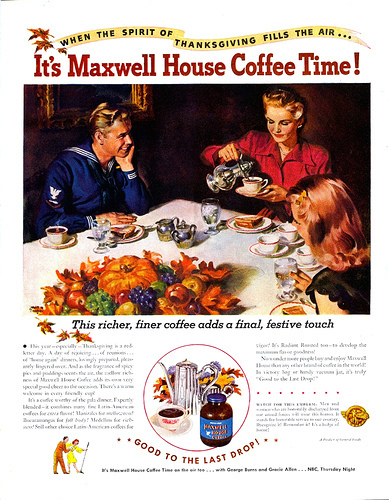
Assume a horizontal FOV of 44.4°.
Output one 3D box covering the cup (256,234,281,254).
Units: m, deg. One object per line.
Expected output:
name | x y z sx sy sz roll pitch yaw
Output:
cup | 0.354 -0.032 2.223 0.094 0.065 0.092 -1 8 0

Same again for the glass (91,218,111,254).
glass | -0.443 -0.066 2.274 0.092 0.166 0.063 -1 6 -9

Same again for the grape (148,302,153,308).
grape | -0.204 0.258 2.224 0.023 0.024 0.010 -1 6 -6

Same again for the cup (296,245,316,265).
cup | 0.529 0.023 2.277 0.084 0.070 0.088 -14 15 4

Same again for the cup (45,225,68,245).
cup | -0.652 -0.073 2.267 0.095 0.065 0.092 -1 11 0

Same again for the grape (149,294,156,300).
grape | -0.196 0.222 2.233 0.032 0.024 0.011 -1 6 -6

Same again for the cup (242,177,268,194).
cup | 0.292 -0.314 2.299 0.106 0.048 0.076 -1 5 -12

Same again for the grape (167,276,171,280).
grape | -0.118 0.133 2.236 0.014 0.004 0.013 -3 31 -10

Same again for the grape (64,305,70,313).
grape | -0.594 0.274 2.223 0.025 0.031 0.009 -1 6 -10

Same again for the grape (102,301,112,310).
grape | -0.405 0.260 2.230 0.041 0.037 0.016 -1 6 -10

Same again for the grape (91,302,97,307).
grape | -0.468 0.256 2.230 0.025 0.020 0.007 -2 6 -13

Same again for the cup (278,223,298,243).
cup | 0.454 -0.084 2.292 0.077 0.062 0.087 -1 13 4

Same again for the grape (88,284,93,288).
grape | -0.487 0.170 2.233 0.021 0.018 0.005 -1 -6 -6

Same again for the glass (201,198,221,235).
glass | 0.082 -0.159 2.275 0.091 0.174 0.033 0 6 2

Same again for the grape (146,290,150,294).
grape | -0.218 0.197 2.235 0.014 0.012 0.013 1 9 3

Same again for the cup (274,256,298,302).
cup | 0.460 0.148 2.280 0.144 0.214 0.140 3 3 0

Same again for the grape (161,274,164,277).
grape | -0.150 0.122 2.238 0.012 0.011 0.012 1 7 5

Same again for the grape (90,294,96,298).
grape | -0.476 0.216 2.234 0.015 0.015 0.015 -1 13 1
